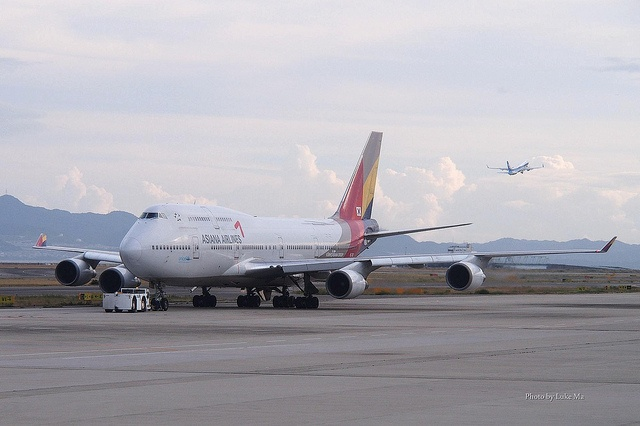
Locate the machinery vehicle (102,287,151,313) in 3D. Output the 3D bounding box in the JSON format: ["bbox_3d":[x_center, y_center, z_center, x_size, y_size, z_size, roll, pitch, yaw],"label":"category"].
[{"bbox_3d":[-8.561,3.969,47.224,1.172,0.712,1.743,0,-2,19],"label":"machinery vehicle"}]
